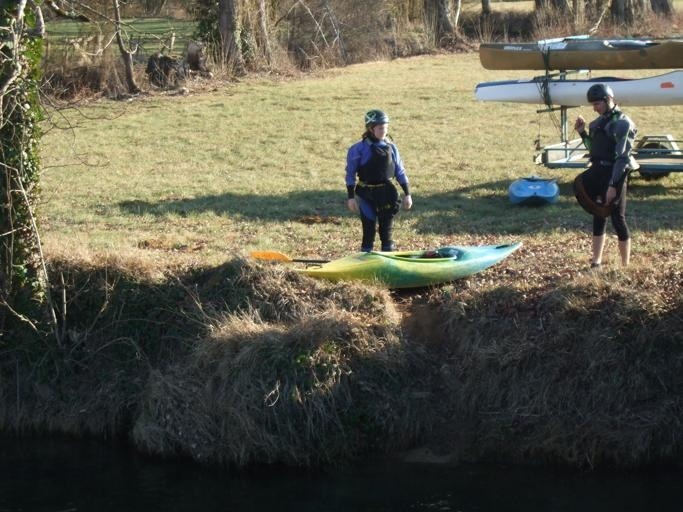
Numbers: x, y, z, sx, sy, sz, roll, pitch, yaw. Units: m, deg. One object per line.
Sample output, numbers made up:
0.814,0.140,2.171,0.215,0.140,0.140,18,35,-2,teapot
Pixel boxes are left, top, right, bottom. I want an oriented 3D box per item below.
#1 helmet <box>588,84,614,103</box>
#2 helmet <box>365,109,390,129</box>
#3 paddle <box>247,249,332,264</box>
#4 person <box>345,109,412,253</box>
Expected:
4.535,-2.867,25.802,0.356,0.329,0.288,11,-7,-14,helmet
0.639,-2.444,26.138,0.351,0.322,0.308,-16,9,21,helmet
-0.981,0.029,27.033,1.911,0.346,0.226,1,2,25,paddle
0.661,-1.325,26.434,1.091,2.588,0.640,-5,6,-1,person
